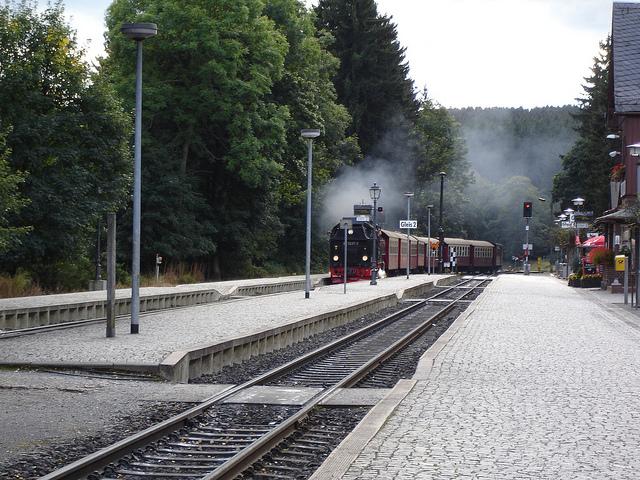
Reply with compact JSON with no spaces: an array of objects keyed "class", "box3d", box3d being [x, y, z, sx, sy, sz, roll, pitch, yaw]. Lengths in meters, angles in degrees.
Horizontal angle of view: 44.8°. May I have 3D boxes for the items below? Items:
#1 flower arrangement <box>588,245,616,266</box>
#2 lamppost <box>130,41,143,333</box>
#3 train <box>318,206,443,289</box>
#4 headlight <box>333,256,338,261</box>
[{"class":"flower arrangement","box3d":[13.038,0.727,35.975,0.942,0.903,1.069,-1,7,30]},{"class":"lamppost","box3d":[-4.136,-1.188,17.320,0.243,6.558,0.964,0,-2,-14]},{"class":"train","box3d":[3.857,1.009,49.661,3.047,4.186,21.325,-2,-3,17]},{"class":"headlight","box3d":[0.782,1.084,44.434,0.286,0.256,0.088,-2,-3,18]}]
